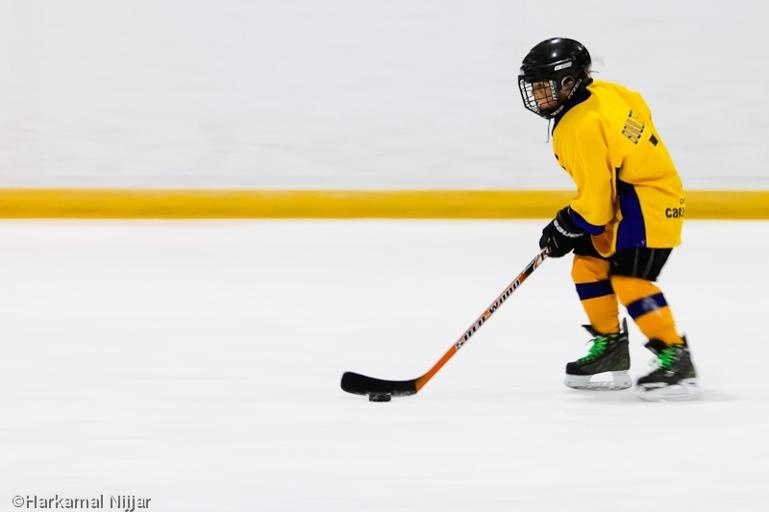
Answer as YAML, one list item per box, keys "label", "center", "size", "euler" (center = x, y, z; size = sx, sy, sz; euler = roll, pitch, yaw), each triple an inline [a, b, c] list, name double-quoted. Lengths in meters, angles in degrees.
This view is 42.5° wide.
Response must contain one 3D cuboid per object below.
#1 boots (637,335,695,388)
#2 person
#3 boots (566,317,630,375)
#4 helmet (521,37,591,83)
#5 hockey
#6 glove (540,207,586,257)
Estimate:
- label: "boots"
  center: [1.187, 0.457, 4.115]
  size: [0.257, 0.194, 0.093]
  euler: [-10, -12, 38]
- label: "person"
  center: [0.941, -0.144, 4.154]
  size: [0.593, 1.440, 0.766]
  euler: [-7, -24, 14]
- label: "boots"
  center: [0.862, 0.401, 4.241]
  size: [0.404, 0.235, 0.120]
  euler: [-3, 8, -31]
- label: "helmet"
  center: [0.705, -0.814, 4.098]
  size: [0.270, 0.170, 0.191]
  euler: [1, 13, 16]
- label: "hockey"
  center: [0.331, 0.250, 4.548]
  size: [1.757, 0.466, 0.098]
  euler: [-20, -13, -46]
- label: "glove"
  center: [0.744, -0.083, 4.132]
  size: [0.209, 0.084, 0.220]
  euler: [-45, -26, 19]
